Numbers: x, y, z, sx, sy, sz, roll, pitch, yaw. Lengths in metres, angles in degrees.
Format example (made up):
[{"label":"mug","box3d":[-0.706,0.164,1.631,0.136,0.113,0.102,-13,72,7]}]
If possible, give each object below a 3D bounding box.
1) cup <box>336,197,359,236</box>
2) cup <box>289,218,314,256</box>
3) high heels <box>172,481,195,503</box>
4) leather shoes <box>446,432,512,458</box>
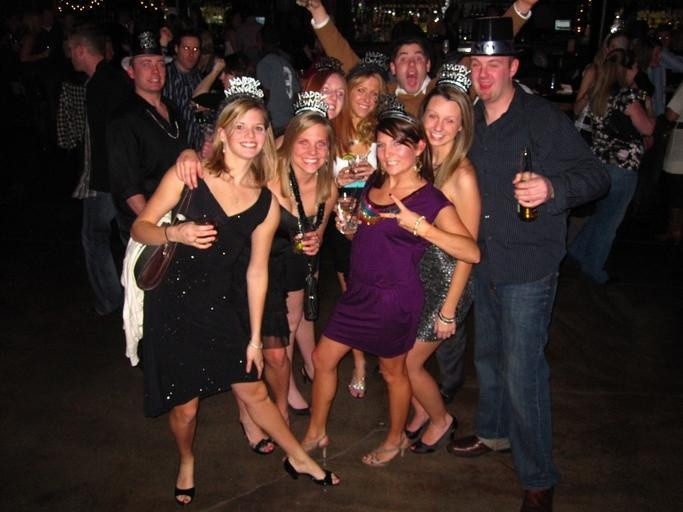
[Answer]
[{"label":"cup","box3d":[0.044,-0.244,4.421,0.150,0.370,0.386,2,23,-2]},{"label":"cup","box3d":[-0.272,-0.122,4.327,0.132,0.237,0.141,3,23,-1]},{"label":"high heels","box3d":[-1.046,1.596,4.141,0.142,0.087,0.108,-3,24,-16]},{"label":"leather shoes","box3d":[0.989,1.394,4.578,0.499,0.223,0.180,1,24,1]}]
